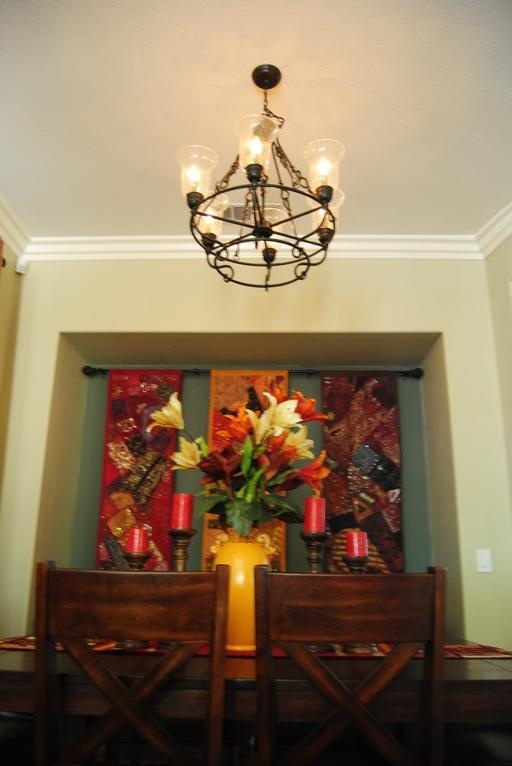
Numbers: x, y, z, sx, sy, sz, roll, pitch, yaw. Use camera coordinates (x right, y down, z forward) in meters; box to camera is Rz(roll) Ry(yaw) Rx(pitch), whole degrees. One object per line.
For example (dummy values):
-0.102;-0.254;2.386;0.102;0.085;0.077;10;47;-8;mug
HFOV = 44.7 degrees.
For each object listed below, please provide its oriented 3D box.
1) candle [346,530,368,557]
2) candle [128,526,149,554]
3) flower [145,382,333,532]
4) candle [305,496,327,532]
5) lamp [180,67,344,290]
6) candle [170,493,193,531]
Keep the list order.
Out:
0.268;0.430;1.662;0.052;0.073;0.194;-3;-16;8;candle
-0.305;0.404;1.604;0.065;0.069;0.063;0;-2;2;candle
-0.070;0.292;2.331;0.507;0.434;0.525;-26;-55;35;flower
0.158;0.350;1.656;0.050;0.090;0.064;-1;-17;0;candle
0.025;-0.751;2.213;0.410;0.627;0.446;-7;-40;10;lamp
-0.194;0.342;1.658;0.054;0.087;0.041;3;-17;-12;candle
